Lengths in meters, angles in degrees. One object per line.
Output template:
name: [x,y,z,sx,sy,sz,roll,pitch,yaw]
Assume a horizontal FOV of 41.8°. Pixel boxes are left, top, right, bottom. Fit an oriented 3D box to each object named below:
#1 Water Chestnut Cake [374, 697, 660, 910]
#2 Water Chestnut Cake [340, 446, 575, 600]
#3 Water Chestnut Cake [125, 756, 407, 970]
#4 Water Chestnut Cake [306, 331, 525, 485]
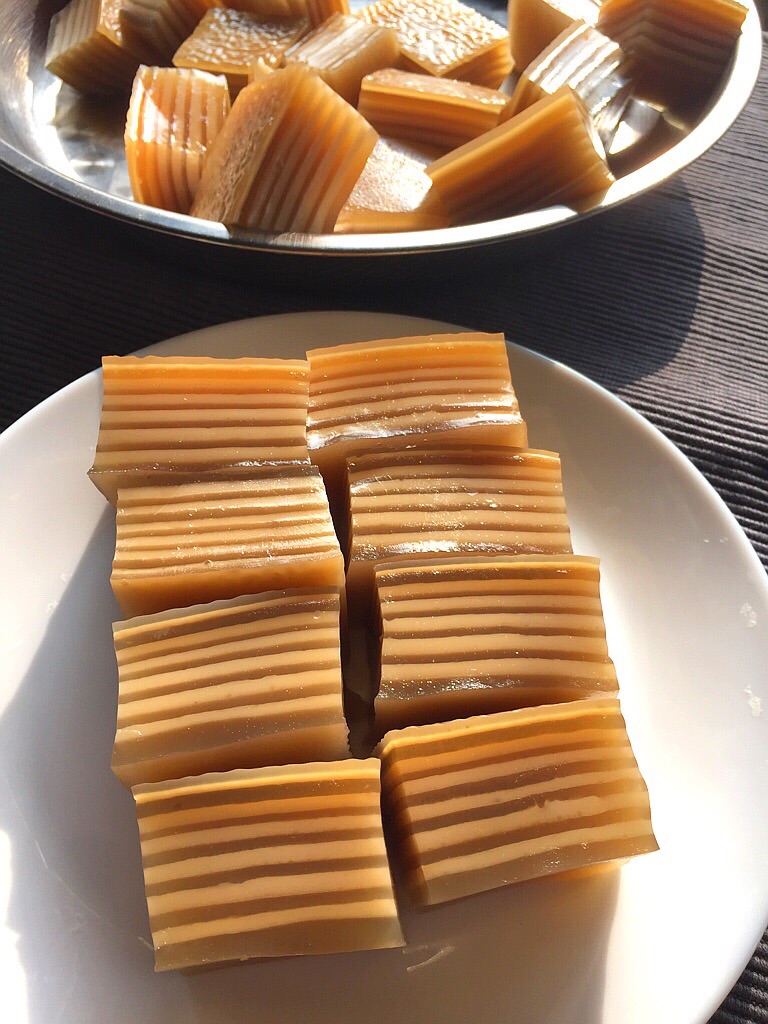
Water Chestnut Cake: [0.107,0.226,0.812,0.221,0.053,0.133,-2,72,-19]
Water Chestnut Cake: [0.066,0.012,0.968,0.223,0.115,0.137,0,76,-25]
Water Chestnut Cake: [-0.097,0.267,0.763,0.235,0.049,0.160,20,54,-32]
Water Chestnut Cake: [0.028,-0.118,1.049,0.258,0.132,0.162,-6,47,-5]
